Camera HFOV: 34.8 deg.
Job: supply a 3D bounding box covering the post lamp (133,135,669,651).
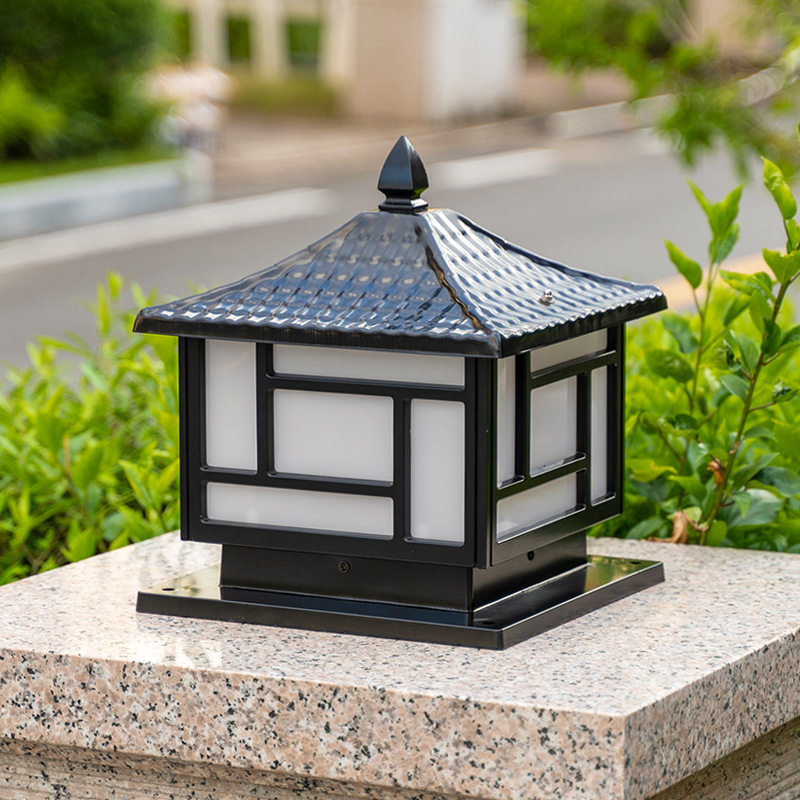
[{"bbox_3d":[0.069,-0.064,2.330,0.951,0.811,0.881,3,8,26],"label":"post lamp"}]
